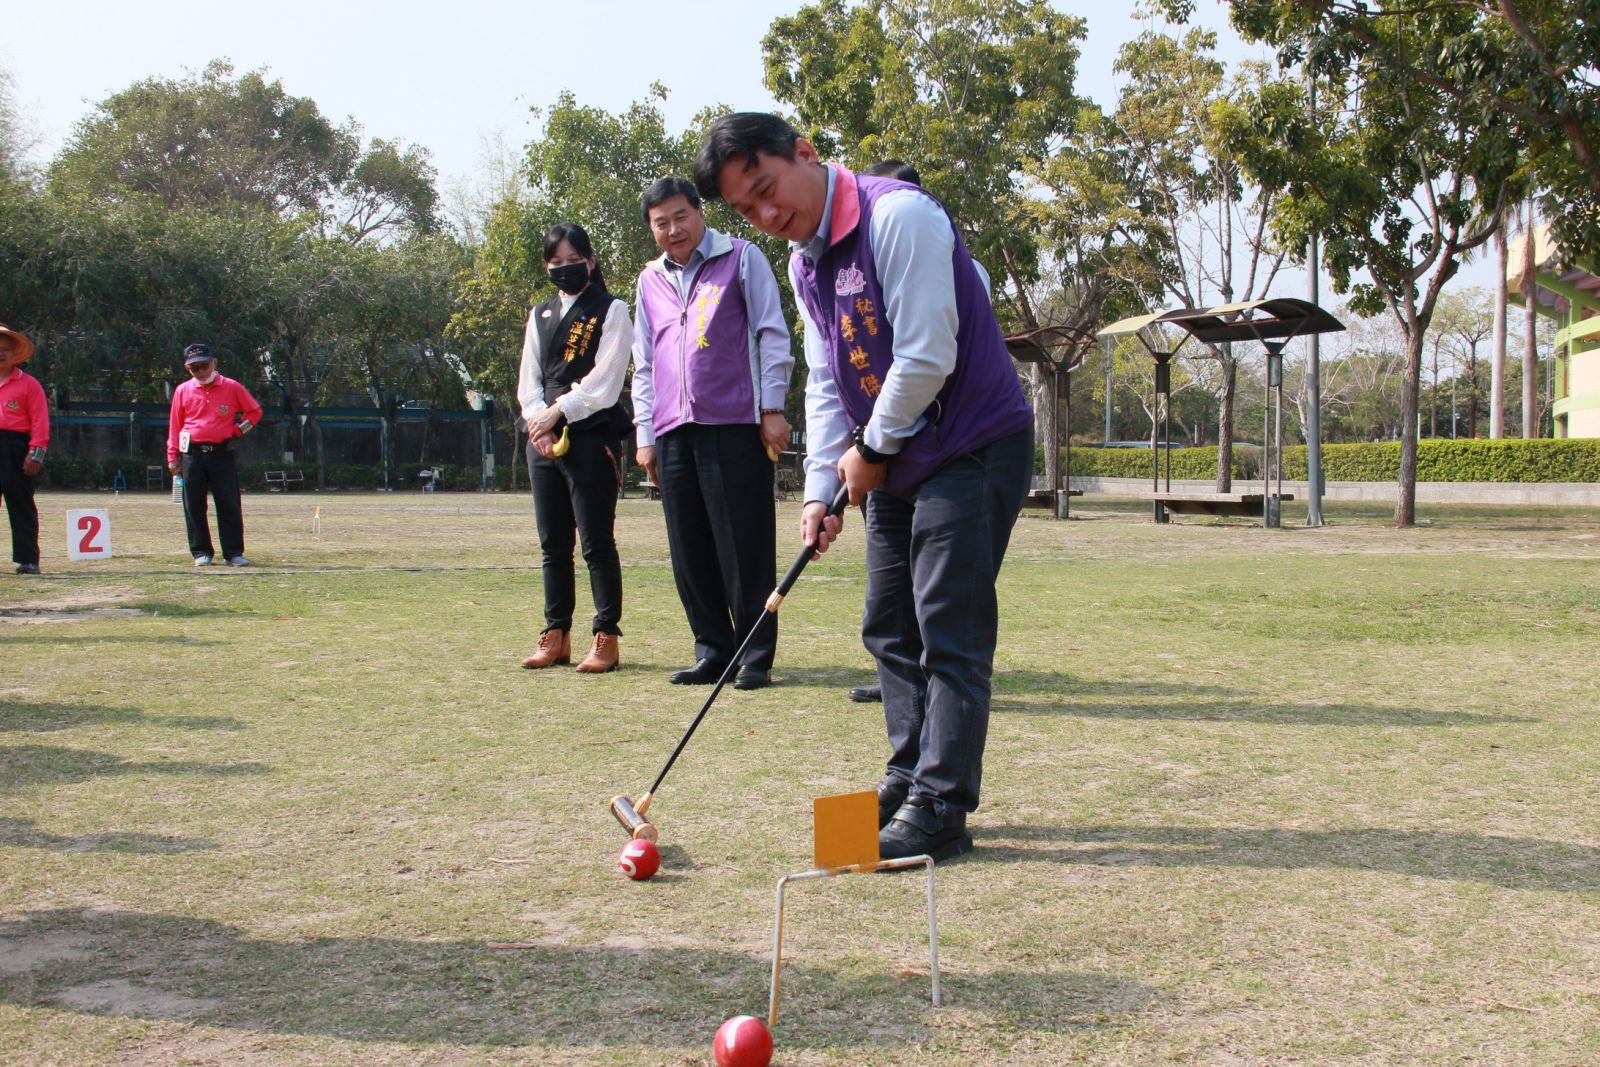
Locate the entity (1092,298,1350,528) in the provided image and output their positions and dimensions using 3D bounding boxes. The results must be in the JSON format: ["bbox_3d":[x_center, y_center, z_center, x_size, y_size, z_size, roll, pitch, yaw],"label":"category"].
[{"bbox_3d":[5.716,-1.659,23.017,1.986,2.829,3.448,-2,4,-21],"label":"entity"}]

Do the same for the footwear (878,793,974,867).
[{"bbox_3d":[0.565,1.318,7.439,0.465,0.204,0.212,10,-9,-34],"label":"footwear"}]

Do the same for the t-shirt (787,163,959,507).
[{"bbox_3d":[0.261,-0.853,7.854,0.588,1.650,1.042,1,6,-33],"label":"t-shirt"}]

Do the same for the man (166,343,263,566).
[{"bbox_3d":[-5.171,-0.719,14.689,0.729,1.955,1.135,-1,2,-19],"label":"man"}]

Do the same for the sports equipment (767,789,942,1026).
[{"bbox_3d":[0.226,1.492,6.864,0.689,0.869,0.666,-1,2,2],"label":"sports equipment"}]

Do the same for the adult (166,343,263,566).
[{"bbox_3d":[-5.163,-0.719,14.668,0.728,1.955,1.089,-1,2,-19],"label":"adult"}]

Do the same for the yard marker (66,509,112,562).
[{"bbox_3d":[-6.294,0.015,14.732,0.514,0.579,0.224,-1,-2,-32],"label":"yard marker"}]
